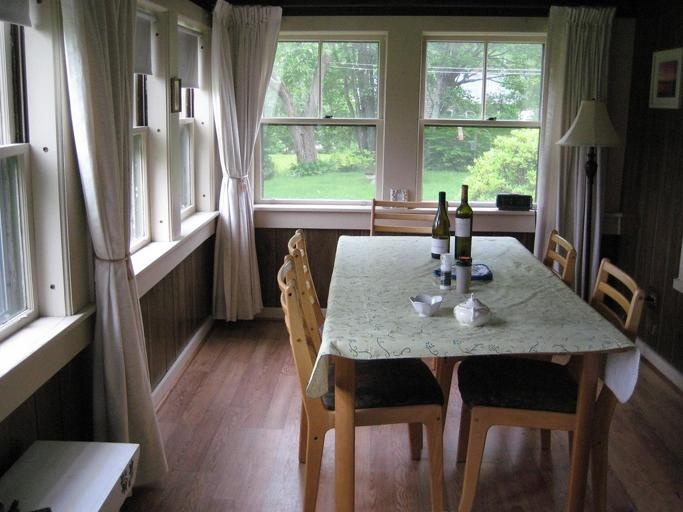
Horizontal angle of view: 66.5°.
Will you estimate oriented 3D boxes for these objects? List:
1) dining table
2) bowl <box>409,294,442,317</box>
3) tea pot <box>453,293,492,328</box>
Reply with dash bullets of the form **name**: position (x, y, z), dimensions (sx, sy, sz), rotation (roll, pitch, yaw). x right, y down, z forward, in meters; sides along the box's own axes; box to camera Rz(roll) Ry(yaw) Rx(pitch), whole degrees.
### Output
- **dining table**: position (0.508, 0.533, 2.697), dimensions (1.213, 0.912, 1.482), rotation (-1, 18, 1)
- **bowl**: position (0.357, 0.204, 2.173), dimensions (0.089, 0.049, 0.101), rotation (-2, 5, -5)
- **tea pot**: position (0.528, 0.216, 2.098), dimensions (0.134, 0.126, 0.143), rotation (-4, 12, 1)
